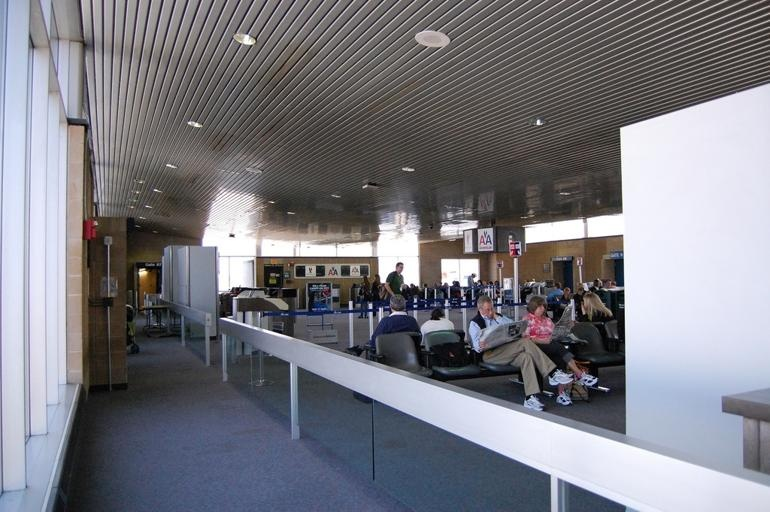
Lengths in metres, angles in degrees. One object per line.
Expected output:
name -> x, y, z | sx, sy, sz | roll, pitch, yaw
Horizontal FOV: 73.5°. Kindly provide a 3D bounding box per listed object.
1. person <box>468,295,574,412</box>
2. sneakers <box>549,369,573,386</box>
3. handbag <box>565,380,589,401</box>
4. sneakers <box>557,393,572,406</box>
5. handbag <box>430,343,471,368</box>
person -> 1.626, 1.181, 6.401 | 0.730, 0.997, 1.403 | -16, 18, -29
sneakers -> 2.139, 1.526, 6.440 | 0.409, 0.164, 0.159 | -11, -5, 31
handbag -> 2.474, 1.750, 6.711 | 0.325, 0.253, 0.205 | 0, 1, 1
sneakers -> 2.229, 1.794, 6.447 | 0.111, 0.088, 0.212 | 1, -13, -8
handbag -> 0.800, 1.229, 6.396 | 0.361, 0.136, 0.323 | 0, 11, -4
